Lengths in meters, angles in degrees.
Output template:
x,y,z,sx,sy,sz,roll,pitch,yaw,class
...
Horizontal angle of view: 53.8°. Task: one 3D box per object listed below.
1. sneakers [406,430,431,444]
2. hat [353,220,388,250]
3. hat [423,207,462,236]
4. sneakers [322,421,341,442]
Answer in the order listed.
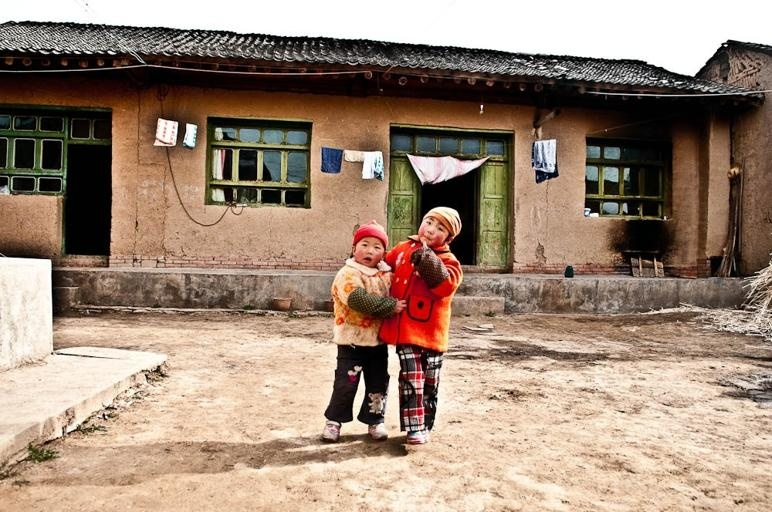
x,y,z,sx,sy,sz,roll,pitch,yaw,class
0.295,1.755,7.379,0.198,0.089,0.116,-3,3,-14,sneakers
-0.170,-0.186,7.571,0.321,0.259,0.309,11,-4,-5,hat
0.595,-0.332,7.578,0.280,0.273,0.345,36,-4,24,hat
-0.543,1.717,7.391,0.120,0.103,0.239,17,-8,0,sneakers
